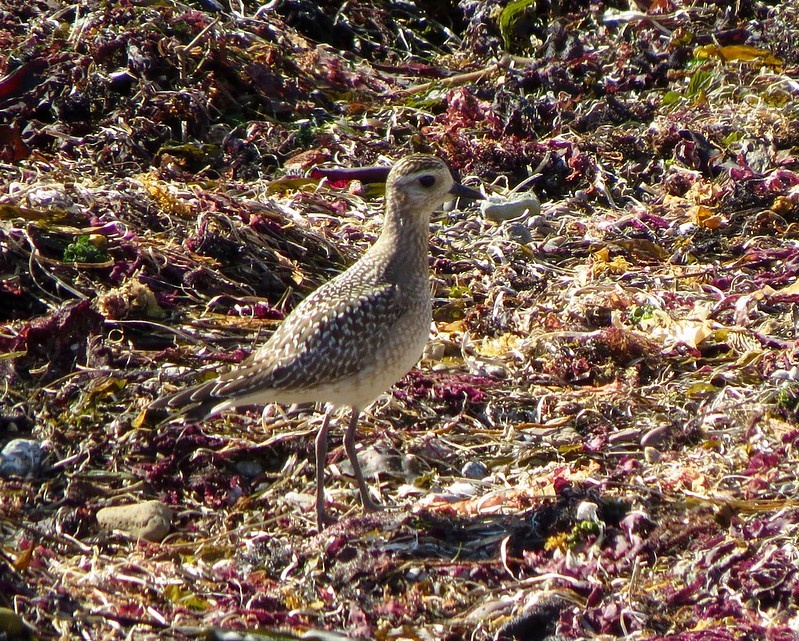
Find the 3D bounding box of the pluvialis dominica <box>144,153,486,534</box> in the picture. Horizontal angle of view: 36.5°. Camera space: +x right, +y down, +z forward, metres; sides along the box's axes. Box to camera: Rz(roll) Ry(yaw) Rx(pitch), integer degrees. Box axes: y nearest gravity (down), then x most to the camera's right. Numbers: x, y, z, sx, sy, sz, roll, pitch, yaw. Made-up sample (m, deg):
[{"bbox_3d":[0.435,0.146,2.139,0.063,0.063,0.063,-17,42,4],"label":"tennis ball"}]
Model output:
[{"bbox_3d":[-0.313,0.126,5.916,1.904,1.637,0.647,-10,13,7],"label":"pluvialis dominica"}]
